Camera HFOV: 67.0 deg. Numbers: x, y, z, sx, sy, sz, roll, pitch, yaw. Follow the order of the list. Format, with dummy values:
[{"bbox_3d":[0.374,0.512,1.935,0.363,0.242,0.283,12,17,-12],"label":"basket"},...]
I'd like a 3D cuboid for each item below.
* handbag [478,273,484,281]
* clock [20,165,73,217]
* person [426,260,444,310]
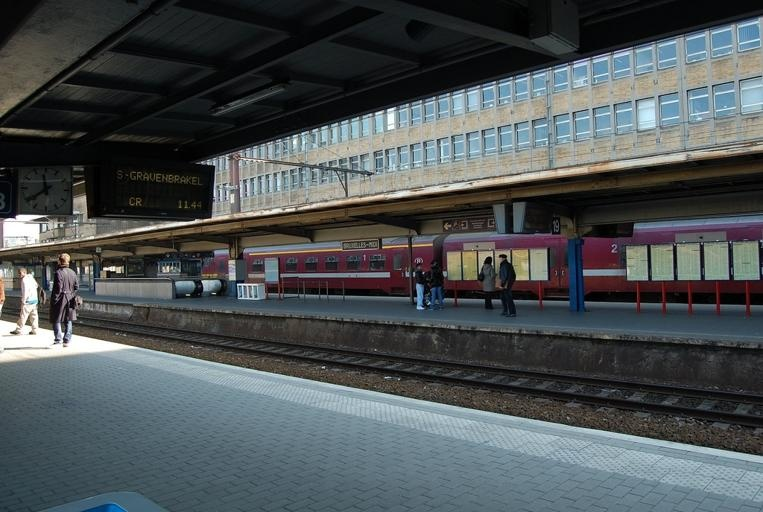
[{"bbox_3d":[3.358,0.702,19.467,0.193,0.289,0.148,-2,4,-19],"label":"handbag"},{"bbox_3d":[-6.618,-1.295,11.260,1.024,1.062,0.144,-1,1,-15],"label":"clock"},{"bbox_3d":[1.948,1.046,20.989,0.455,1.722,1.548,0,3,8],"label":"person"}]
